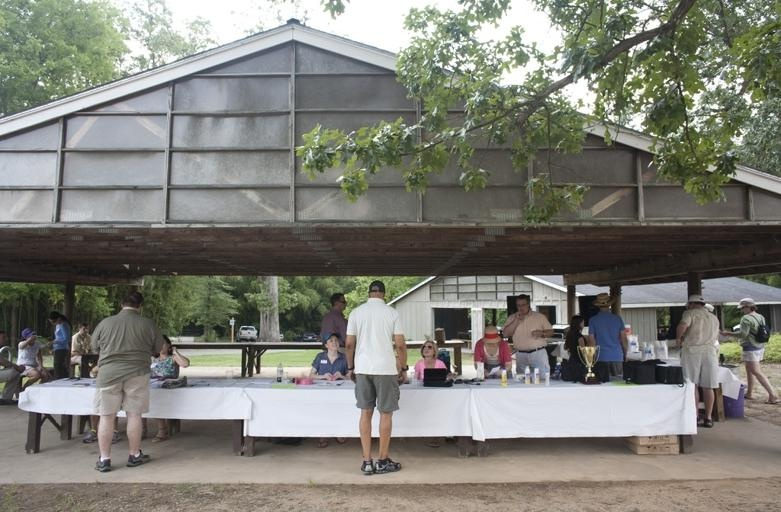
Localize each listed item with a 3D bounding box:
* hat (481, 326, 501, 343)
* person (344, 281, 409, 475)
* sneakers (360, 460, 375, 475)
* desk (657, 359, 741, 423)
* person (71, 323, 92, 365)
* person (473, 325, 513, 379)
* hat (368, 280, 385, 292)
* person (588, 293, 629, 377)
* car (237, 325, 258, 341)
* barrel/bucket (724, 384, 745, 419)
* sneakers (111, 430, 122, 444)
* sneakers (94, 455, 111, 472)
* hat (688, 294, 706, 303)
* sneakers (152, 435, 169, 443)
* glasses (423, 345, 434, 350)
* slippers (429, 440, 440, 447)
[{"bbox_3d":[1.946,1.513,16.055,0.296,0.316,0.359,3,10,20],"label":"hat"},{"bbox_3d":[-0.224,2.100,14.541,1.088,3.234,0.917,0,-6,16],"label":"person"},{"bbox_3d":[-0.391,3.615,14.200,0.225,0.240,0.202,-1,10,-1],"label":"sneakers"},{"bbox_3d":[6.348,2.766,16.668,1.667,0.809,1.672,2,-7,-3],"label":"desk"},{"bbox_3d":[-6.852,1.982,18.656,0.591,0.866,0.671,0,0,-15],"label":"person"},{"bbox_3d":[1.966,2.172,16.037,0.748,1.642,0.863,-2,14,9],"label":"person"},{"bbox_3d":[-0.236,0.522,14.473,0.284,0.197,0.439,3,1,4],"label":"hat"},{"bbox_3d":[4.337,1.952,16.608,0.758,2.396,0.670,-2,7,4],"label":"person"},{"bbox_3d":[-8.001,4.378,46.262,0.883,0.645,1.641,0,-2,-9],"label":"car"},{"bbox_3d":[7.114,3.063,17.362,0.537,0.723,0.533,-3,-9,-1],"label":"barrel/bucket"},{"bbox_3d":[-5.150,3.420,15.675,0.172,0.209,0.485,2,-6,-6],"label":"sneakers"},{"bbox_3d":[-4.989,3.602,14.373,0.269,0.240,0.287,-3,10,-16],"label":"sneakers"},{"bbox_3d":[6.239,0.873,16.941,0.315,0.120,0.395,0,-5,9],"label":"hat"},{"bbox_3d":[-4.353,3.469,15.682,0.251,0.068,0.101,13,-18,-35],"label":"sneakers"},{"bbox_3d":[0.683,1.702,15.197,0.197,0.094,0.078,-1,10,-4],"label":"glasses"},{"bbox_3d":[0.810,3.485,15.314,0.079,0.095,0.239,5,-5,-39],"label":"slippers"}]
